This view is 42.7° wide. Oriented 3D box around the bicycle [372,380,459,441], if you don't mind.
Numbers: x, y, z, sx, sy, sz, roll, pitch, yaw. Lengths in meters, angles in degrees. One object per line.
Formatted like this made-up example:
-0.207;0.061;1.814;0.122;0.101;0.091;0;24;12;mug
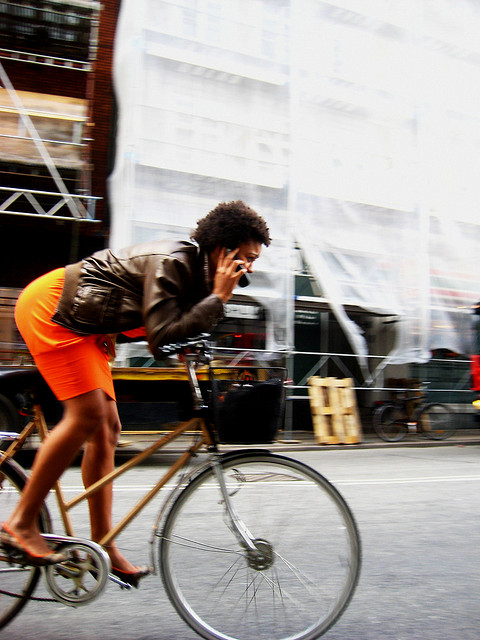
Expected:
3.010;1.625;10.632;0.710;0.893;1.647;16;-19;-40;bicycle

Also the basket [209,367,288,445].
0.019;0.294;2.023;0.292;0.209;0.265;-4;-17;8;basket

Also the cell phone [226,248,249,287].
-0.001;-0.180;2.281;0.042;0.168;0.041;-29;48;-11;cell phone

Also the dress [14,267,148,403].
-0.600;0.067;2.303;0.376;0.489;0.467;-16;-9;6;dress
